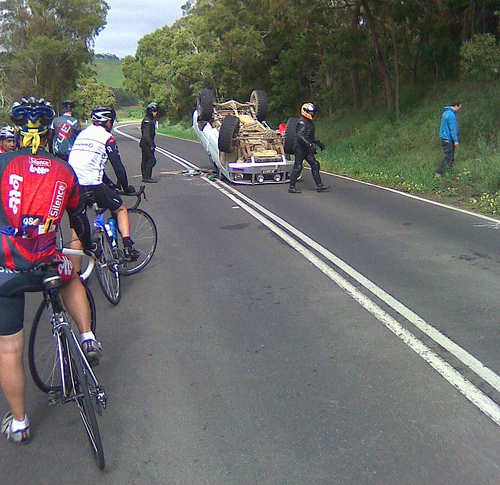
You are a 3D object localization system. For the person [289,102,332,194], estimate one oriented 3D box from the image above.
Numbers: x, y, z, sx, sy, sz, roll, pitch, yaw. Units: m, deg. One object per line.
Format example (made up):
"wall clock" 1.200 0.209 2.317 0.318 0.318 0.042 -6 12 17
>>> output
"person" 1.457 -2.390 12.662 0.791 2.199 0.767 7 14 38

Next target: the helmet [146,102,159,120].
"helmet" -2.694 -3.646 13.566 0.422 0.563 0.375 4 -1 -10

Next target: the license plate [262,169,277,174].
"license plate" 0.558 -2.016 14.152 0.457 0.114 0.136 -7 15 -18

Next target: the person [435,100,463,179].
"person" 5.294 -2.778 13.252 0.563 1.944 0.814 3 13 23

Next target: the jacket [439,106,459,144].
"jacket" 5.295 -3.114 13.179 0.454 0.921 0.665 3 13 21

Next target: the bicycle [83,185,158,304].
"bicycle" -1.861 -0.051 6.683 0.677 1.646 2.035 9 -3 -12

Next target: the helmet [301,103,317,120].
"helmet" 1.448 -3.190 12.166 0.350 0.379 0.301 4 36 11

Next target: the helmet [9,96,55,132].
"helmet" -1.469 -0.836 3.330 0.238 0.275 0.224 7 27 37

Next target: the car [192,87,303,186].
"car" -0.372 -3.154 15.738 1.866 2.083 5.298 -2 30 -11

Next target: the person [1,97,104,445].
"person" -1.436 0.200 3.428 0.716 2.313 0.418 -10 14 -36

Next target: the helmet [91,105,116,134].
"helmet" -1.750 -1.502 6.028 0.233 0.370 0.351 17 24 11
